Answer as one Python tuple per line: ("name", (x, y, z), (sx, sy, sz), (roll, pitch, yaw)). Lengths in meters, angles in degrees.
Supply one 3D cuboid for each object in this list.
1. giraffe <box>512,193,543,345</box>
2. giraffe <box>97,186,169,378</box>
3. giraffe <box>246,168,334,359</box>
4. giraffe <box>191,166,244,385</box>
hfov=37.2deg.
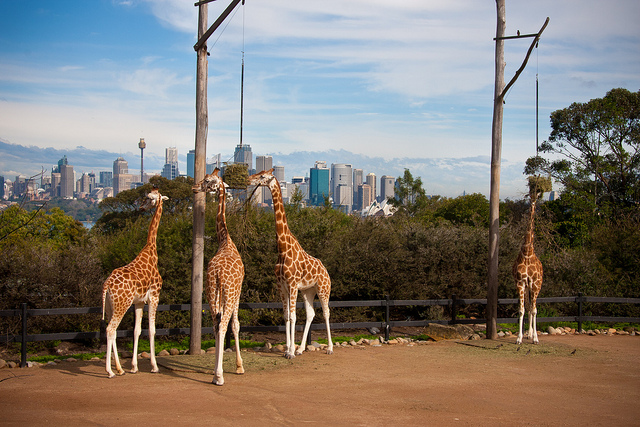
("giraffe", (7.208, 1.910, 33.276), (0.949, 5.327, 1.277), (-1, -5, 14))
("giraffe", (-5.774, 2.054, 29.586), (2.066, 6.040, 0.898), (6, -7, -44))
("giraffe", (-0.888, 1.667, 31.388), (2.790, 6.215, 1.040), (4, -6, -37))
("giraffe", (-3.068, 1.891, 29.551), (1.230, 6.789, 1.378), (2, -5, -14))
